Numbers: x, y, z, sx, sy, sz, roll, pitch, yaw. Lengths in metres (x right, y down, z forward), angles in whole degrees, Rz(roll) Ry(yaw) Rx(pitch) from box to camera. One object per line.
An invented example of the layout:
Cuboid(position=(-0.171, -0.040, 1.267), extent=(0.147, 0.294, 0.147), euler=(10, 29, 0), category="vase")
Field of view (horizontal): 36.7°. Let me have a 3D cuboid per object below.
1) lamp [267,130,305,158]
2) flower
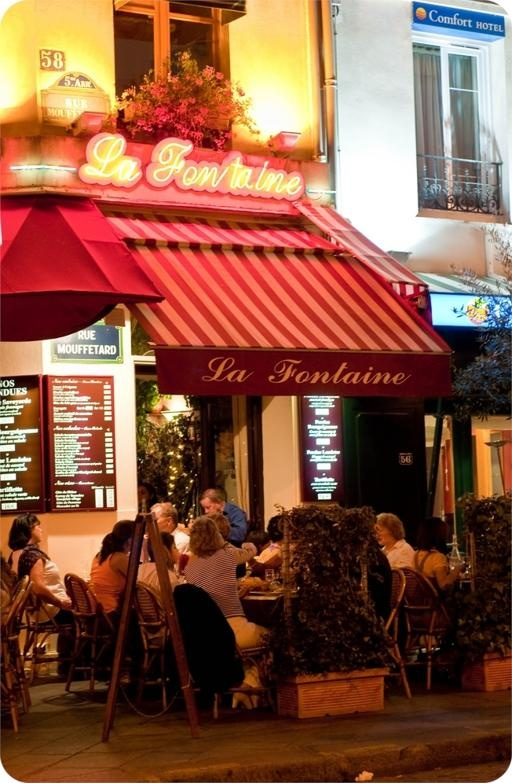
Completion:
Cuboid(position=(0.375, -3.068, 9.407), extent=(0.460, 0.313, 0.502), euler=(-3, -3, -10), category="lamp")
Cuboid(position=(-0.796, -3.236, 8.820), extent=(1.475, 1.055, 1.231), euler=(-1, -1, -33), category="flower")
